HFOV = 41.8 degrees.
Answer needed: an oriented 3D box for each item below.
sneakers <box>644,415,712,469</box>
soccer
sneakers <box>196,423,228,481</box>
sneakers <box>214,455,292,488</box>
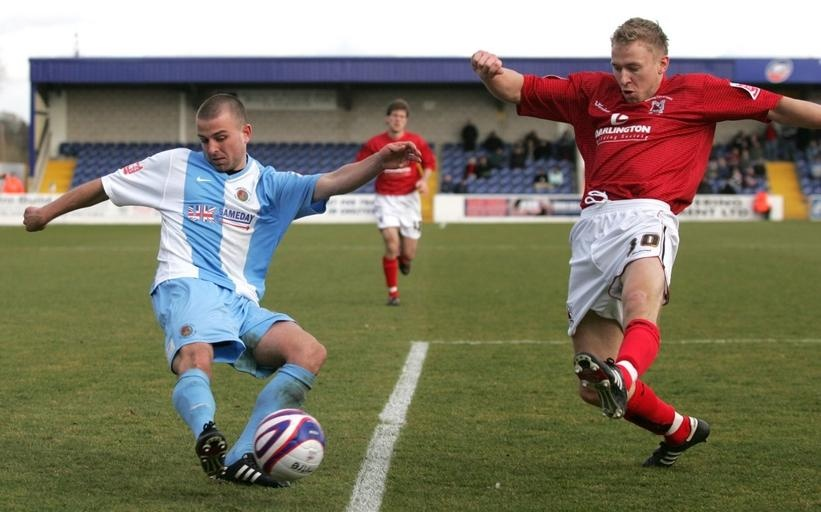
[{"bbox_3d":[2.213,1.548,8.906,0.497,0.209,0.165,-37,23,6],"label":"sneakers"},{"bbox_3d":[-0.941,1.498,8.400,0.522,0.592,0.186,0,4,11],"label":"soccer"},{"bbox_3d":[-1.493,1.488,8.180,0.191,0.442,0.232,-13,14,-22],"label":"sneakers"},{"bbox_3d":[-1.191,1.667,8.441,0.641,0.244,0.185,4,-1,12],"label":"sneakers"}]
